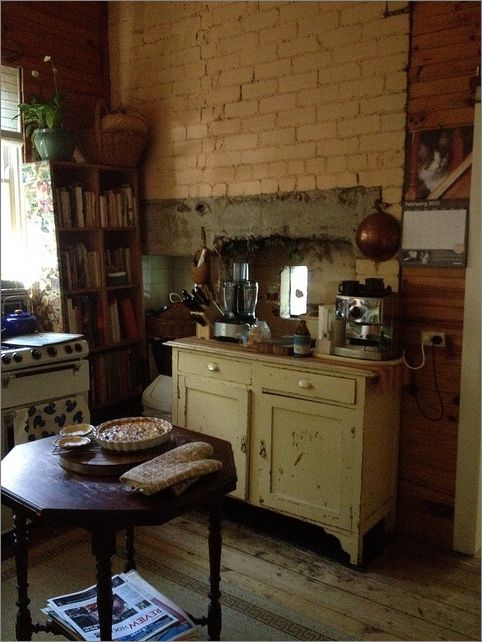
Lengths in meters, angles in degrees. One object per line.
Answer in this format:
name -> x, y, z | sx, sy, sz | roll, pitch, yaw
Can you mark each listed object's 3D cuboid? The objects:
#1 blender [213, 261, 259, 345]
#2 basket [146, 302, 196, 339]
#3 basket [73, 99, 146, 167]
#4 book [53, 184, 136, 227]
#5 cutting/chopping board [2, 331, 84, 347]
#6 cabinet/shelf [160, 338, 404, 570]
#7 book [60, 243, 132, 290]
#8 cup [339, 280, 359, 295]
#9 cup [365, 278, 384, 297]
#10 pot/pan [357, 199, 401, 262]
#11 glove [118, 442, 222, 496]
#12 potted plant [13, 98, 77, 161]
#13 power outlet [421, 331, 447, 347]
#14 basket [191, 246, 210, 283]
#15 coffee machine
blender -> -0.044, -0.059, 2.898 | 0.250, 0.355, 0.278 | 2, 3, 13
basket -> -0.491, -0.006, 3.625 | 0.256, 0.109, 0.324 | 8, 11, 40
basket -> -0.862, -1.223, 3.347 | 0.448, 0.331, 0.366 | 10, 17, 31
book -> -0.955, -0.753, 3.297 | 0.159, 0.362, 0.640 | 2, 3, 25
cutting/chopping board -> -1.095, 0.105, 2.704 | 0.367, 0.039, 0.348 | 2, 3, 12
cabinet/shelf -> 0.243, 0.626, 2.307 | 0.968, 0.743, 0.356 | 3, 5, 39
book -> -0.955, -0.356, 3.388 | 0.146, 0.306, 0.634 | 2, 3, 17
cup -> 0.502, -0.156, 2.367 | 0.081, 0.063, 0.066 | 3, 10, 22
cup -> 0.628, -0.154, 2.358 | 0.094, 0.085, 0.083 | 1, 3, -3
pot/pan -> 0.684, -0.417, 2.507 | 0.203, 0.229, 0.087 | 2, 3, 17
glove -> -0.181, 0.391, 1.323 | 0.105, 0.048, 0.181 | 9, 15, 37
potted plant -> -1.233, -1.158, 3.105 | 0.386, 0.407, 0.264 | 3, 3, 26
power outlet -> 0.923, 0.092, 2.428 | 0.033, 0.065, 0.091 | -11, 9, -40
basket -> -0.280, -0.357, 3.302 | 0.150, 0.246, 0.088 | 2, 3, 24
coffee machine -> 0.542, 0.003, 2.471 | 0.304, 0.386, 0.307 | -4, 6, -44
